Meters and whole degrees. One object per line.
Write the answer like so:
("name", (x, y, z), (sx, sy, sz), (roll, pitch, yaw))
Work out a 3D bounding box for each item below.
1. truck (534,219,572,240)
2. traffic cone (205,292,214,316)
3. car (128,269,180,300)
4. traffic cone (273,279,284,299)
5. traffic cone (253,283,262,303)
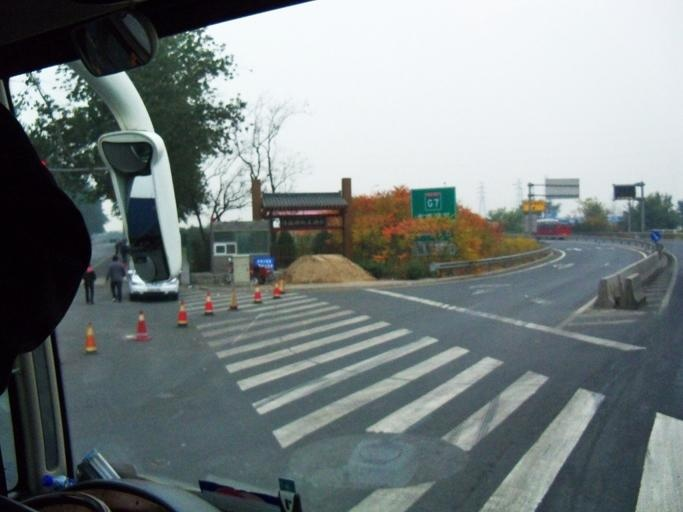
("truck", (28.544, -3.687, 88.719), (2.436, 3.426, 9.297), (1, 5, -6))
("traffic cone", (-4.005, 1.411, 19.669), (0.451, 0.725, 0.509), (-1, -6, -7))
("car", (-6.715, 0.978, 22.885), (1.633, 1.160, 1.378), (-3, 4, -5))
("traffic cone", (-2.221, 1.147, 23.432), (0.509, 0.802, 0.516), (5, -8, -39))
("traffic cone", (-3.036, 1.292, 23.451), (0.407, 0.670, 0.446), (-3, -4, 15))
